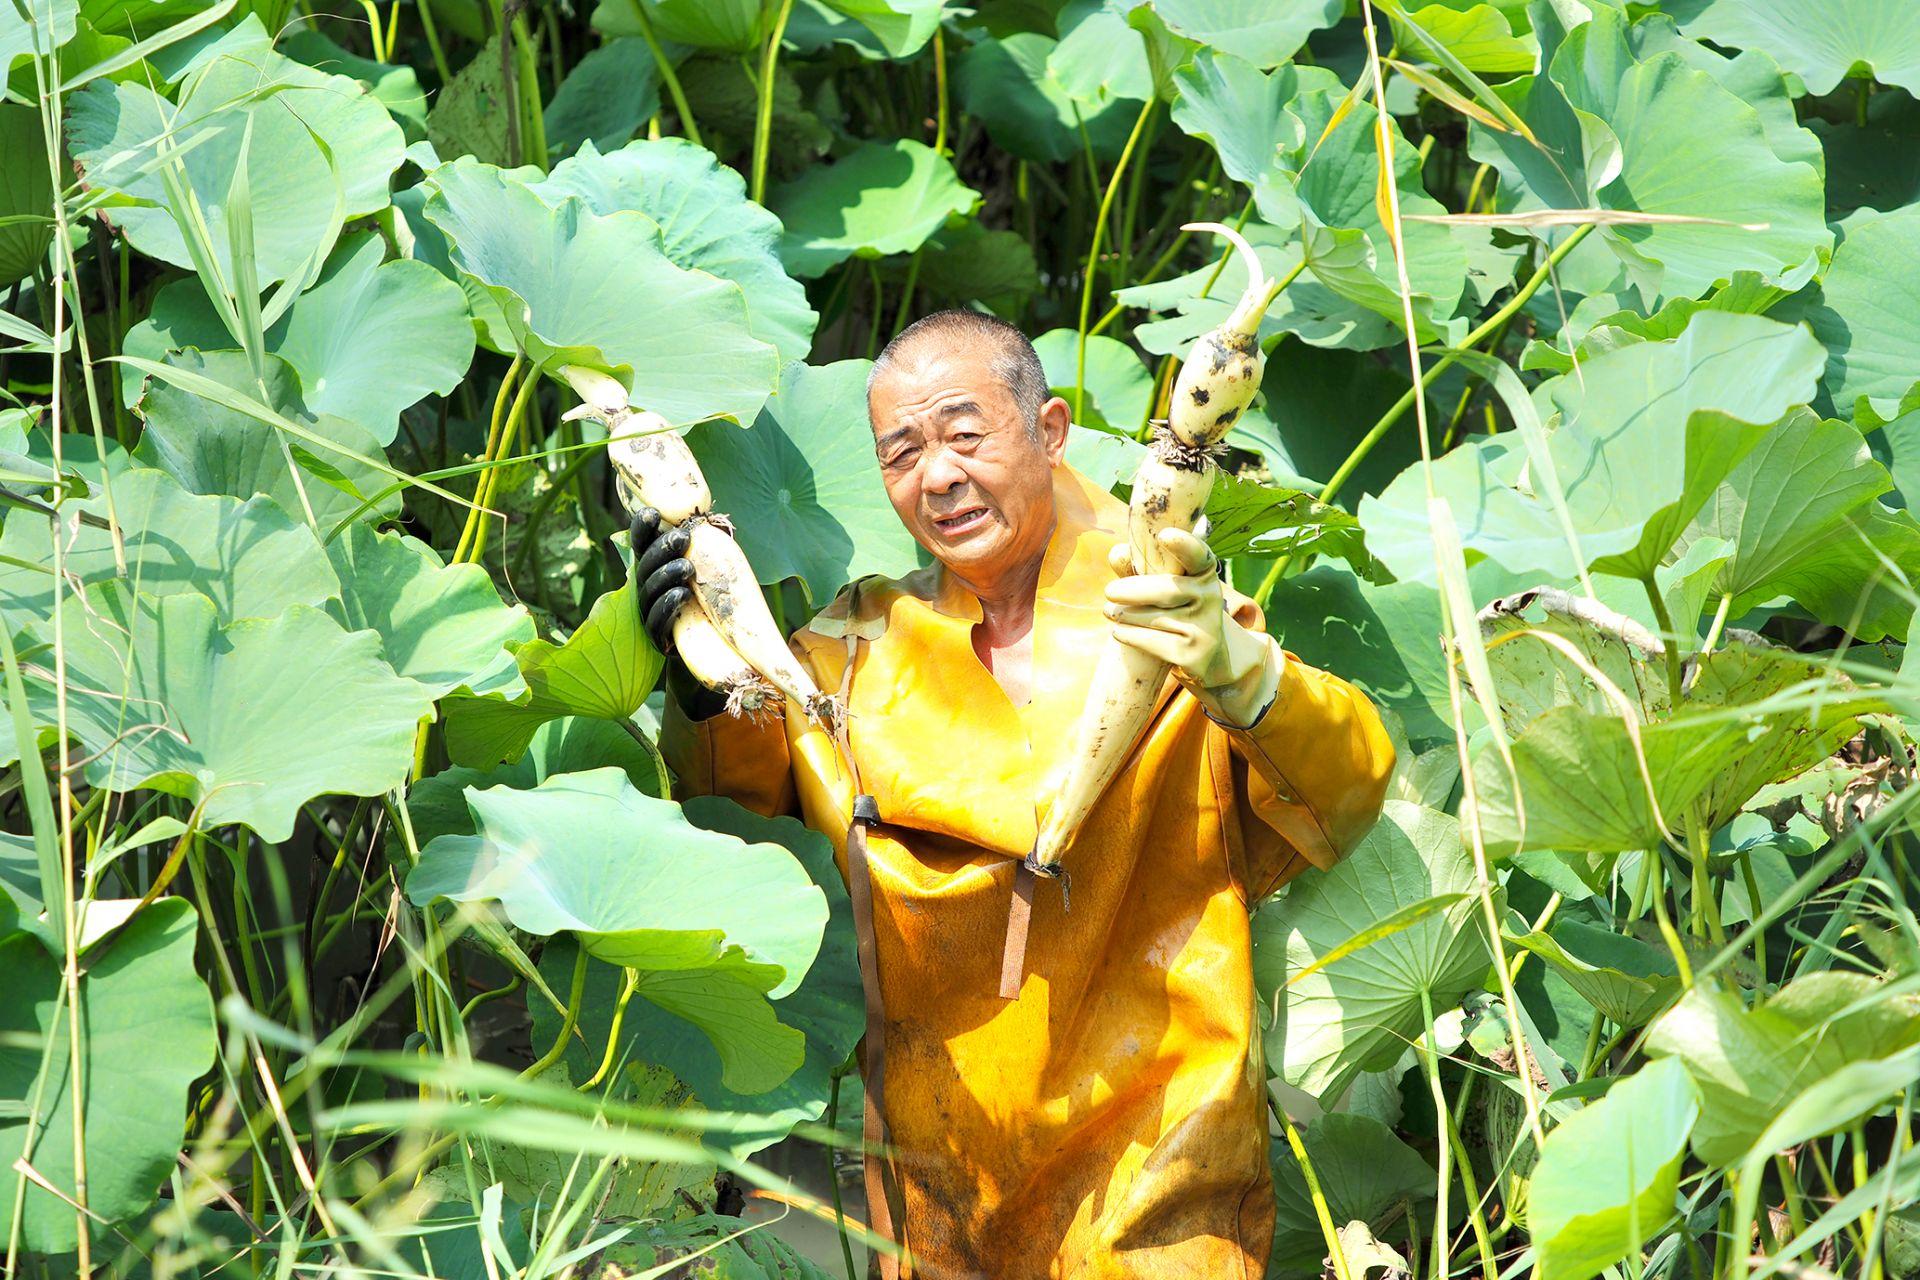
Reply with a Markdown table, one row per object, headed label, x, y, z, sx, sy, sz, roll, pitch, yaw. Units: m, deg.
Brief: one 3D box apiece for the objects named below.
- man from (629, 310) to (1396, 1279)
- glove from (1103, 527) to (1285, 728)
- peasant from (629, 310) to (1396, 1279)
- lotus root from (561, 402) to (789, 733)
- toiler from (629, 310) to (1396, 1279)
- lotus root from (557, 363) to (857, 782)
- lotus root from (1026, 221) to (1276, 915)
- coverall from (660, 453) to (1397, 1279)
| label | x | y | z | sx | sy | sz | roll | pitch | yaw |
| --- | --- | --- | --- | --- | --- | --- | --- | --- | --- |
| man | 0.055 | 0.278 | 3.614 | 1.000 | 0.722 | 2.050 | -8 | 73 | 12 |
| glove | 0.329 | -0.009 | 3.414 | 0.131 | 0.247 | 0.172 | -28 | 43 | 23 |
| peasant | 0.055 | 0.278 | 3.614 | 1.000 | 0.722 | 2.050 | -8 | 73 | 12 |
| lotus root | -0.429 | -0.106 | 3.670 | 0.101 | 0.173 | 0.532 | -20 | 70 | -12 |
| toiler | 0.055 | 0.278 | 3.614 | 1.000 | 0.722 | 2.050 | -8 | 73 | 12 |
| lotus root | -0.375 | -0.215 | 3.668 | 0.227 | 0.287 | 0.880 | -24 | 72 | -9 |
| lotus root | 0.304 | -0.070 | 3.664 | 0.160 | 0.165 | 1.233 | 33 | 108 | 55 |
| coverall | 0.134 | 0.452 | 4.026 | 1.299 | 0.981 | 1.799 | -3 | 77 | 13 |
